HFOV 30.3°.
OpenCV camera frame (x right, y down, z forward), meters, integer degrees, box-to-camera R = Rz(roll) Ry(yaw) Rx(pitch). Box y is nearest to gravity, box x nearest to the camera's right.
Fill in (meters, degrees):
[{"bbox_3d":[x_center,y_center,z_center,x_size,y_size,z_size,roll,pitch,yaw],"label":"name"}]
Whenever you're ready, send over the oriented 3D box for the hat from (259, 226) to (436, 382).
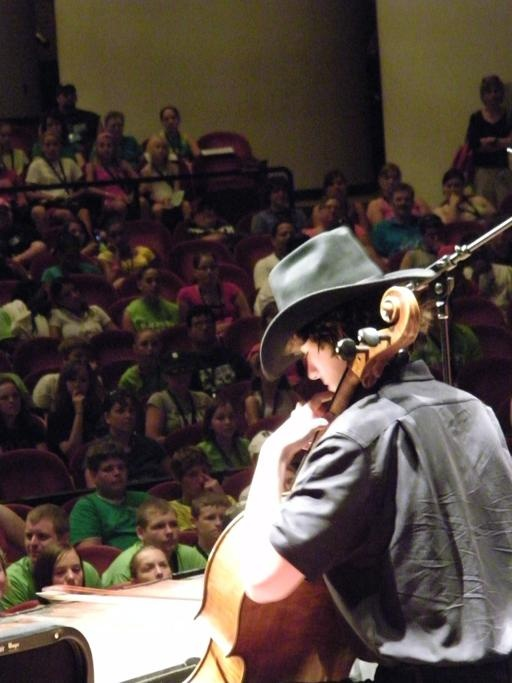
[{"bbox_3d":[0.097,-0.064,1.534,0.271,0.117,0.221,-29,-11,17],"label":"hat"}]
